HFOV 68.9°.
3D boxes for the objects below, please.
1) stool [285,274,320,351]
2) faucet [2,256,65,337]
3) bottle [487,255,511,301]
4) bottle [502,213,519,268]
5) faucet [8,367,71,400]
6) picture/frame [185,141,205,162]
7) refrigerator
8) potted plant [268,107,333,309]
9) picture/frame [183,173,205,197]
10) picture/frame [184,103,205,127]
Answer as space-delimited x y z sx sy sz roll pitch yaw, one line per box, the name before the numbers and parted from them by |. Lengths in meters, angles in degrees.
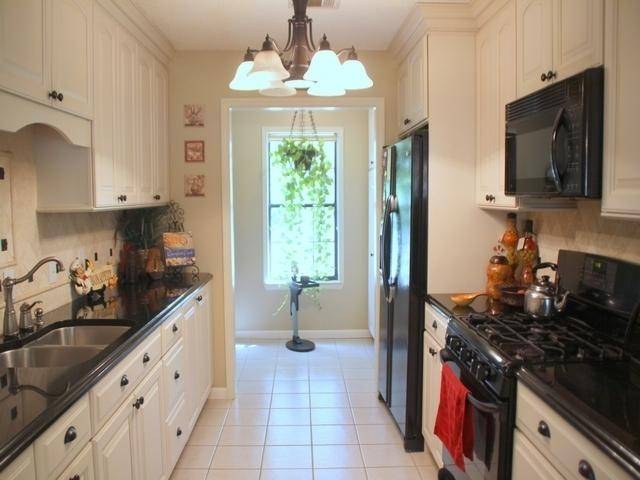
stool | -0.208 0.781 5.230 0.363 0.799 0.496 -1 9 -4
faucet | -1.589 0.279 2.502 0.269 0.380 0.429 -9 13 -43
bottle | 1.194 0.250 3.037 0.162 0.291 0.246 0 9 2
bottle | 1.295 -0.012 3.175 0.107 0.339 0.167 2 9 13
faucet | -1.177 0.600 1.941 0.170 0.076 0.037 9 -8 -8
picture/frame | -1.065 -0.757 3.935 0.146 0.174 0.017 1 3 -3
refrigerator | 0.616 0.326 3.485 0.271 2.227 0.755 -1 9 -6
potted plant | -0.206 -0.475 5.360 0.815 1.971 0.319 1 9 9
picture/frame | -1.081 -0.481 3.953 0.173 0.217 0.028 0 2 -5
picture/frame | -1.066 -1.059 3.918 0.159 0.191 0.019 0 0 -4
